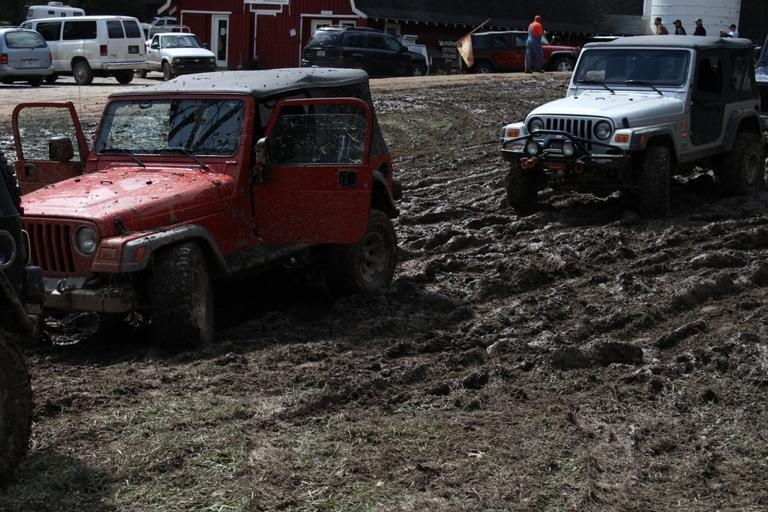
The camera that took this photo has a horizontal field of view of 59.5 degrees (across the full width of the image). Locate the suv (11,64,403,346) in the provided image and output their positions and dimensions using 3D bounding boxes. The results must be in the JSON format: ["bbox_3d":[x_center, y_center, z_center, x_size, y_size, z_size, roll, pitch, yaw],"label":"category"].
[{"bbox_3d":[-1.390,-0.589,6.523,2.879,1.548,3.185,4,10,31],"label":"suv"}]

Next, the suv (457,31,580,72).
[{"bbox_3d":[5.818,-8.663,29.338,4.487,1.928,2.383,-4,11,7],"label":"suv"}]

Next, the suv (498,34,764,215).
[{"bbox_3d":[3.893,-2.055,10.191,2.460,2.034,4.001,7,11,44],"label":"suv"}]
